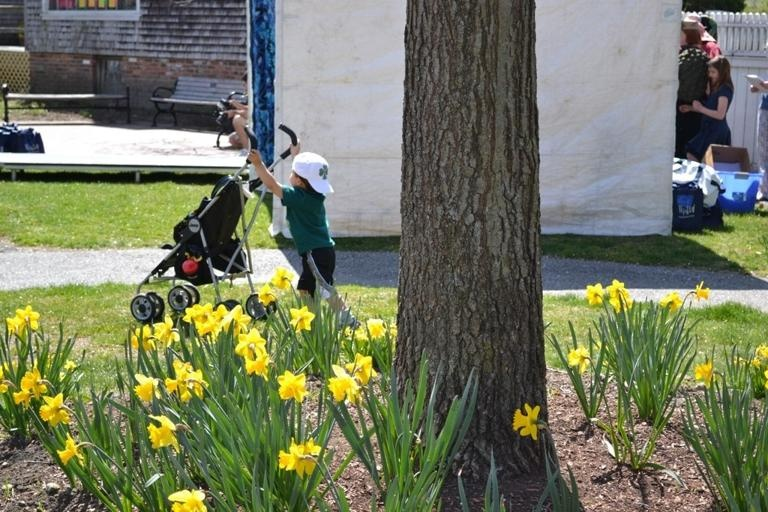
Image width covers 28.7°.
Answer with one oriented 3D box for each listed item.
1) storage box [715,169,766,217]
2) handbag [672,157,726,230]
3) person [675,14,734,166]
[{"bbox_3d":[5.787,-1.125,24.547,0.737,0.616,0.638,3,16,13],"label":"storage box"},{"bbox_3d":[4.833,-0.941,23.439,0.753,1.010,0.870,3,7,33],"label":"handbag"},{"bbox_3d":[5.273,-2.703,24.574,0.796,2.277,1.163,-1,6,-3],"label":"person"}]
